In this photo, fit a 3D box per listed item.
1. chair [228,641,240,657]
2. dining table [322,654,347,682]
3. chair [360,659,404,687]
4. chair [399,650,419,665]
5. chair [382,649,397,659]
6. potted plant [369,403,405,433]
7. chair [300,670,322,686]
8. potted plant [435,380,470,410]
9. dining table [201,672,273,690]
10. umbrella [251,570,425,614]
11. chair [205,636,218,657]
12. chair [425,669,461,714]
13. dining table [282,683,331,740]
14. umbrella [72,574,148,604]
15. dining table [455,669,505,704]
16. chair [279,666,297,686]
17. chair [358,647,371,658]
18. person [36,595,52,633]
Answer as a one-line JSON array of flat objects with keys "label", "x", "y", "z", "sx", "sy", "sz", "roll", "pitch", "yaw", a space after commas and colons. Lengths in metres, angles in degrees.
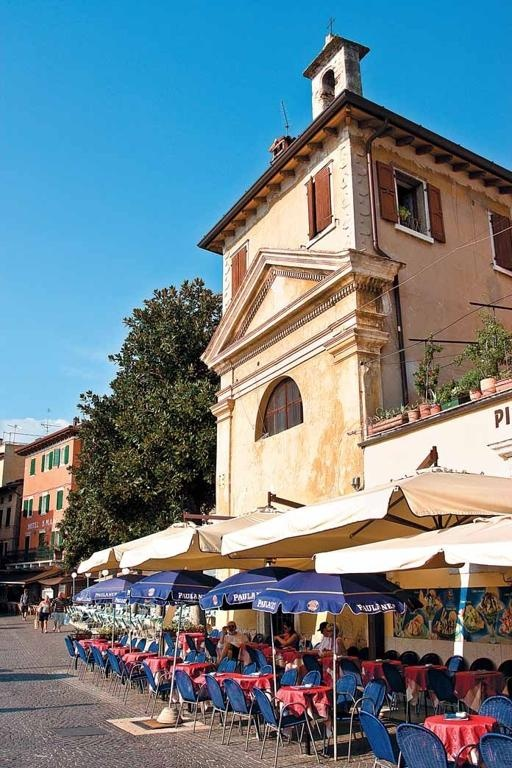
[{"label": "chair", "x": -0.376, "y": 4.547, "z": 12.264, "sx": 0.165, "sy": 0.240, "sz": 0.460, "roll": 0, "pitch": -14, "yaw": -2}, {"label": "dining table", "x": 1.035, "y": 3.789, "z": 9.679, "sx": 0.400, "sy": 0.372, "sz": 0.396, "roll": 6, "pitch": -21, "yaw": -16}, {"label": "chair", "x": 1.602, "y": 3.693, "z": 9.166, "sx": 0.651, "sy": 0.398, "sz": 0.648, "roll": 2, "pitch": -21, "yaw": -6}, {"label": "chair", "x": 2.253, "y": 4.055, "z": 10.624, "sx": 0.211, "sy": 0.277, "sz": 0.256, "roll": -3, "pitch": -47, "yaw": 9}, {"label": "chair", "x": 2.045, "y": 4.162, "z": 11.026, "sx": 0.173, "sy": 0.163, "sz": 0.171, "roll": -6, "pitch": -37, "yaw": 12}, {"label": "potted plant", "x": 2.369, "y": 0.648, "z": 12.771, "sx": 0.505, "sy": 0.310, "sz": 0.605, "roll": 5, "pitch": -14, "yaw": -27}, {"label": "chair", "x": 0.658, "y": 3.531, "z": 8.559, "sx": 0.180, "sy": 0.230, "sz": 0.191, "roll": -2, "pitch": -45, "yaw": 4}, {"label": "potted plant", "x": 3.233, "y": 0.184, "z": 11.823, "sx": 0.477, "sy": 0.350, "sz": 0.474, "roll": 3, "pitch": -19, "yaw": -30}, {"label": "dining table", "x": -0.224, "y": 3.680, "z": 8.900, "sx": 0.742, "sy": 0.193, "sz": 0.685, "roll": 8, "pitch": -21, "yaw": -17}, {"label": "umbrella", "x": 0.764, "y": 2.120, "z": 7.303, "sx": 1.468, "sy": 0.358, "sz": 1.015, "roll": -2, "pitch": -14, "yaw": 6}, {"label": "chair", "x": -0.839, "y": 4.904, "z": 13.405, "sx": 0.268, "sy": 0.364, "sz": 0.281, "roll": 0, "pitch": -8, "yaw": 2}, {"label": "chair", "x": 2.172, "y": 3.565, "z": 8.423, "sx": 0.323, "sy": 0.460, "sz": 0.523, "roll": -3, "pitch": -14, "yaw": 10}, {"label": "dining table", "x": 0.543, "y": 3.530, "z": 7.791, "sx": 0.560, "sy": 0.487, "sz": 0.557, "roll": 4, "pitch": -24, "yaw": -10}, {"label": "umbrella", "x": -2.826, "y": 3.940, "z": 14.020, "sx": 1.567, "sy": 0.513, "sz": 1.568, "roll": 0, "pitch": -27, "yaw": -4}, {"label": "dining table", "x": 2.504, "y": 3.417, "z": 8.095, "sx": 0.366, "sy": 0.336, "sz": 0.384, "roll": -15, "pitch": -44, "yaw": 18}, {"label": "chair", "x": 0.406, "y": 3.561, "z": 8.728, "sx": 0.179, "sy": 0.207, "sz": 0.469, "roll": 3, "pitch": -15, "yaw": -14}, {"label": "chair", "x": 1.728, "y": 4.326, "z": 11.535, "sx": 0.153, "sy": 0.184, "sz": 0.406, "roll": -3, "pitch": -14, "yaw": 8}, {"label": "person", "x": -8.976, "y": 9.778, "z": 30.293, "sx": 0.356, "sy": 1.323, "sz": 1.678, "roll": 4, "pitch": -15, "yaw": -18}]
